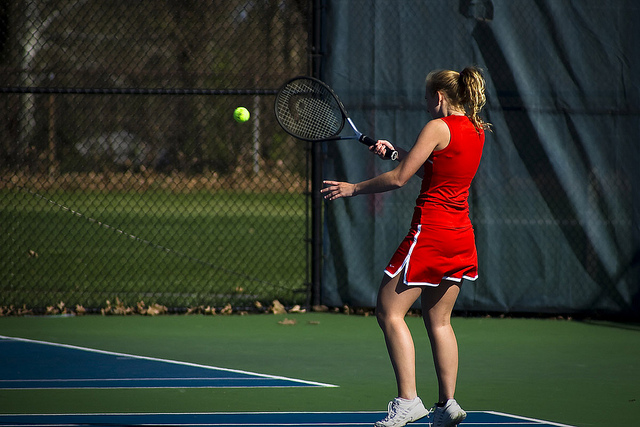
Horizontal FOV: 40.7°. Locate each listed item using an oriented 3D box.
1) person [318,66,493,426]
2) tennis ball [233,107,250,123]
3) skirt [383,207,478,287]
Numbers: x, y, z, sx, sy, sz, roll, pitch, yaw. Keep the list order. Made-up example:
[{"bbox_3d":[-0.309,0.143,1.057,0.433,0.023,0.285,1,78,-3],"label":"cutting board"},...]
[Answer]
[{"bbox_3d":[0.923,0.300,7.719,1.009,3.118,0.729,2,10,9],"label":"person"},{"bbox_3d":[-1.047,-1.359,11.547,0.169,0.197,0.222,-20,-27,-6],"label":"tennis ball"},{"bbox_3d":[1.122,0.237,7.909,1.005,0.873,0.538,4,0,-36],"label":"skirt"}]
